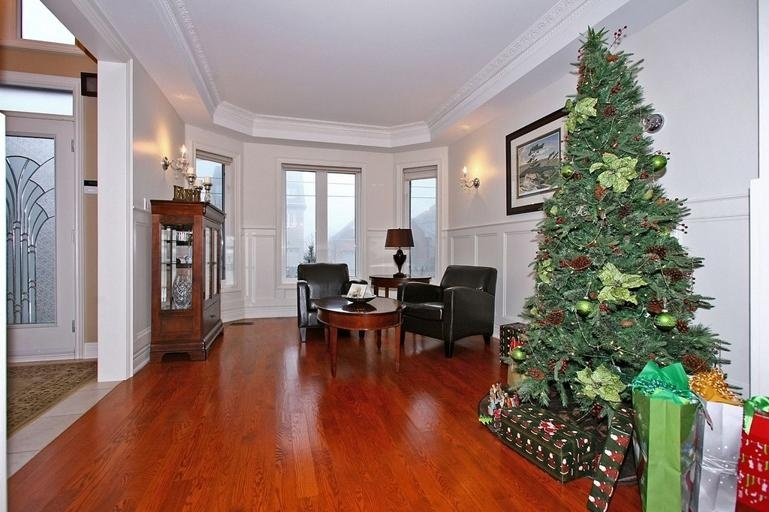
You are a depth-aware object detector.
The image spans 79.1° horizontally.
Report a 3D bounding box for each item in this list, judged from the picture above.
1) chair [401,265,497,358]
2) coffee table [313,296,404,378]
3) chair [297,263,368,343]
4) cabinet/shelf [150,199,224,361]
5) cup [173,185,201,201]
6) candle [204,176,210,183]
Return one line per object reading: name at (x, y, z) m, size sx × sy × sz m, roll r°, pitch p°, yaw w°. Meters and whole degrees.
chair at (0.762, 0.580, 5.667) m, size 0.968 × 0.943 × 0.947 m, roll 0°, pitch 2°, yaw -42°
coffee table at (-0.207, 0.846, 4.985) m, size 0.944 × 0.578 × 0.931 m, roll 1°, pitch 5°, yaw 28°
chair at (-0.766, 0.556, 6.027) m, size 0.756 × 0.982 × 0.740 m, roll 1°, pitch -6°, yaw -16°
cabinet/shelf at (-2.200, 0.263, 5.096) m, size 0.681 × 1.759 × 1.830 m, roll 0°, pitch 1°, yaw -14°
cup at (-2.195, -0.732, 5.188) m, size 0.263 × 0.152 × 0.168 m, roll -3°, pitch 6°, yaw -26°
candle at (-2.055, -0.922, 5.393) m, size 0.066 × 0.070 × 0.067 m, roll 2°, pitch 4°, yaw 19°
